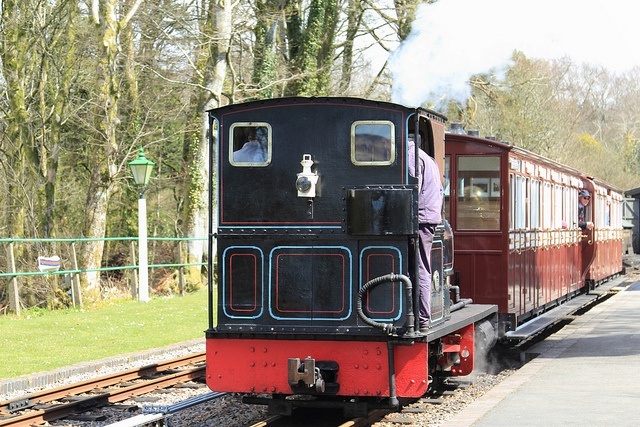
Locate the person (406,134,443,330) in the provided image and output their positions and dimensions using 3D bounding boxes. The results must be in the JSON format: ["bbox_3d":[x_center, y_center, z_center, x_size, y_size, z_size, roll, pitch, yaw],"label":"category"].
[{"bbox_3d":[1.574,0.283,11.265,0.374,2.864,0.865,-4,-6,31],"label":"person"}]

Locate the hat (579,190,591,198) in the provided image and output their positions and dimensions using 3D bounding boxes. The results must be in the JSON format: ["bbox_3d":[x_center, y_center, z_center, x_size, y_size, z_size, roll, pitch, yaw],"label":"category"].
[{"bbox_3d":[8.172,-0.633,23.131,0.252,0.148,0.369,2,-6,1],"label":"hat"}]
